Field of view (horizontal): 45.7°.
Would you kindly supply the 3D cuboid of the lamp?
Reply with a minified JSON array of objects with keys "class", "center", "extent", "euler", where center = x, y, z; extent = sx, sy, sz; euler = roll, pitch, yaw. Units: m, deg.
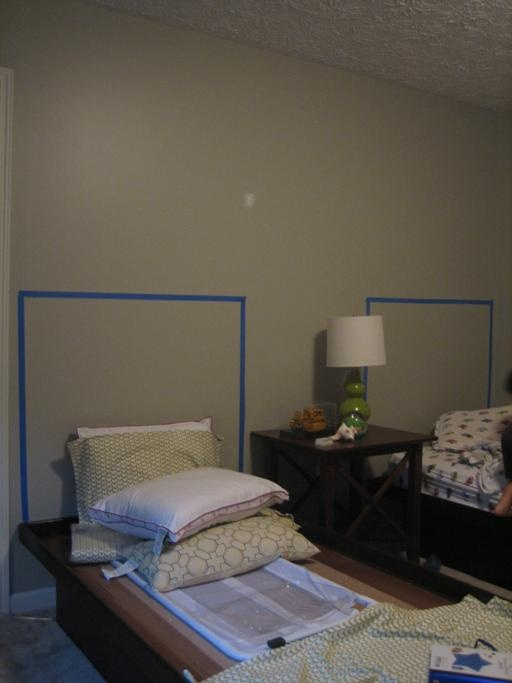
[{"class":"lamp","center":[0.425,0.148,2.575],"extent":[0.233,0.508,0.510],"euler":[-3,-3,9]}]

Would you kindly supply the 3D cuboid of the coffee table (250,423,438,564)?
[{"class":"coffee table","center":[0.330,0.538,2.643],"extent":[0.628,0.571,0.615],"euler":[0,-1,-34]}]
